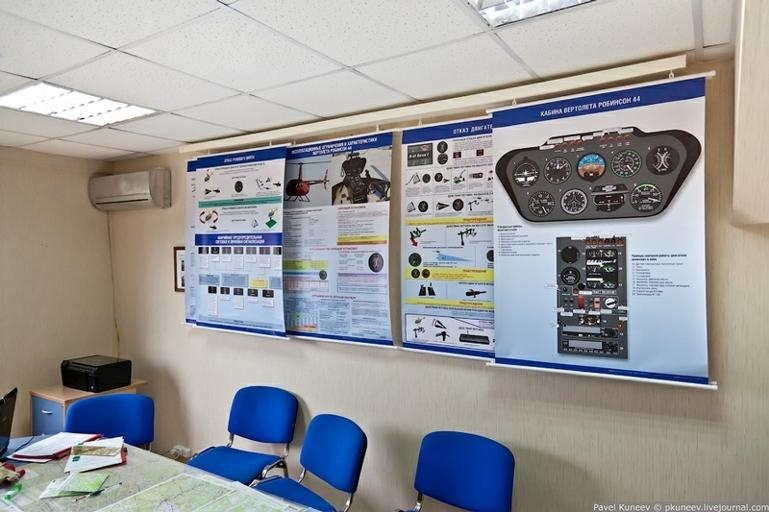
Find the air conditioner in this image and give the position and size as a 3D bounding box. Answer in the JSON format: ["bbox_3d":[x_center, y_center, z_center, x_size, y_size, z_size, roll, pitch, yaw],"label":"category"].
[{"bbox_3d":[-2.577,-0.669,5.257,0.971,0.395,0.250,0,-2,27],"label":"air conditioner"}]

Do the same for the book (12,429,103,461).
[{"bbox_3d":[-2.292,1.290,3.640,0.481,0.058,0.586,-1,0,13],"label":"book"}]
